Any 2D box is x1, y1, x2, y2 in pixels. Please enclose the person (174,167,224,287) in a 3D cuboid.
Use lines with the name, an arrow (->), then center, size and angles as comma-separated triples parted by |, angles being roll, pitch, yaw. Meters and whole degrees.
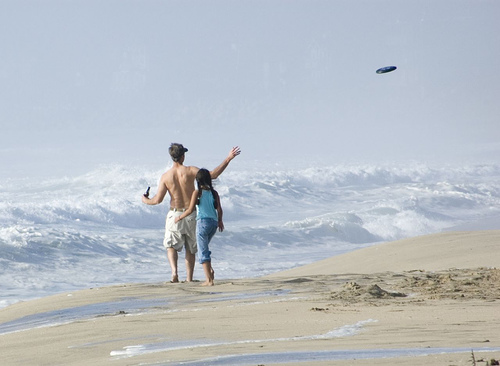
person -> -0.679, 0.644, 10.425 | 0.628, 1.285, 0.744 | -8, -3, -5

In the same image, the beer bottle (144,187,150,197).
beer bottle -> -1.476, 0.129, 10.549 | 0.034, 0.119, 0.087 | 11, 2, 13
